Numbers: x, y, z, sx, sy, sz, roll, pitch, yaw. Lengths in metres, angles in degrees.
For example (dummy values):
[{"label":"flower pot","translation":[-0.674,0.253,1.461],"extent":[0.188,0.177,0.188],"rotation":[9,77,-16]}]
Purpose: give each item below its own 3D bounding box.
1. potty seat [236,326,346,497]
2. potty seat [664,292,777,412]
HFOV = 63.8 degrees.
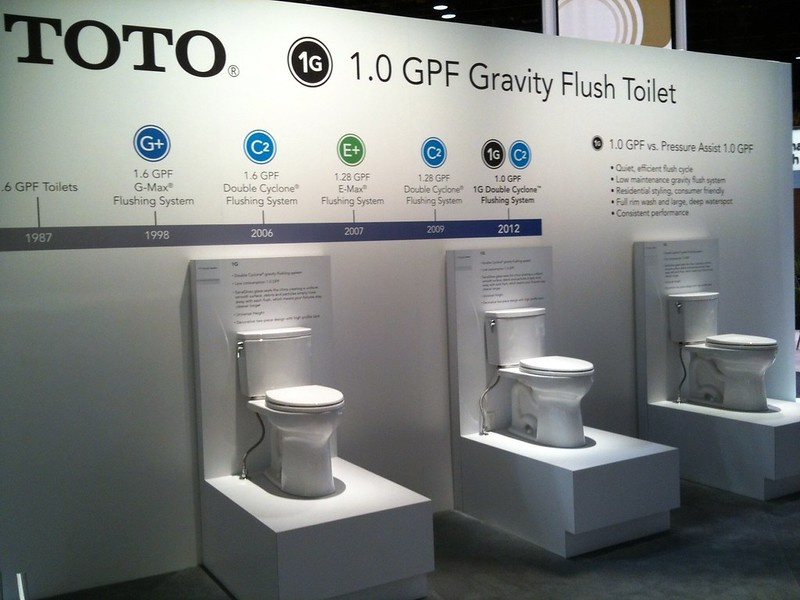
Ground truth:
[{"label":"potty seat","translation":[-0.514,0.532,3.131],"extent":[0.525,0.751,0.401],"rotation":[4,5,43]},{"label":"potty seat","translation":[2.138,0.326,4.220],"extent":[0.429,0.737,0.646],"rotation":[-6,5,-37]}]
